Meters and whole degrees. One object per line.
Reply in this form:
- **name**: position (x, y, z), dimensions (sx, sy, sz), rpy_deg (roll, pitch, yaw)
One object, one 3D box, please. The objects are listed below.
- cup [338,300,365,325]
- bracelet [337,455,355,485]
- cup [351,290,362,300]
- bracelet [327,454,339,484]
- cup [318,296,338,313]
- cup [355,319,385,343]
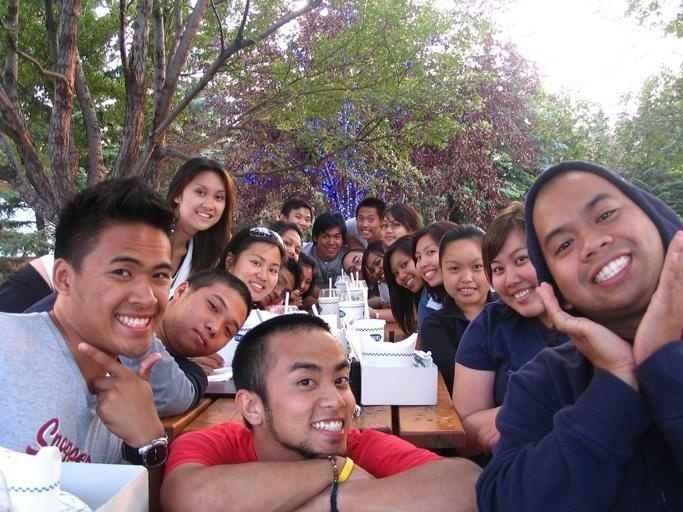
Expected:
- **cup**: position (0.067, 0.454, 3.985), dimensions (0.172, 0.182, 0.170), rpy_deg (-1, -3, 0)
- **bracelet**: position (0.020, 0.897, 2.099), dimensions (0.099, 0.067, 0.037), rpy_deg (-4, -8, -45)
- **cup**: position (0.129, 0.333, 4.130), dimensions (0.087, 0.089, 0.063), rpy_deg (0, -17, 2)
- **bracelet**: position (-0.025, 0.887, 2.097), dimensions (0.026, 0.077, 0.056), rpy_deg (-11, -11, 2)
- **cup**: position (-0.094, 0.414, 4.258), dimensions (0.167, 0.168, 0.193), rpy_deg (-10, -6, -3)
- **cup**: position (0.170, 0.470, 3.158), dimensions (0.133, 0.108, 0.137), rpy_deg (2, -5, 0)
